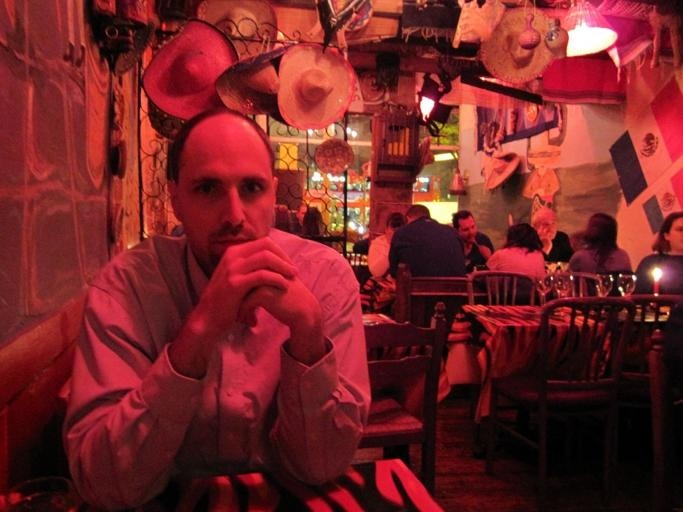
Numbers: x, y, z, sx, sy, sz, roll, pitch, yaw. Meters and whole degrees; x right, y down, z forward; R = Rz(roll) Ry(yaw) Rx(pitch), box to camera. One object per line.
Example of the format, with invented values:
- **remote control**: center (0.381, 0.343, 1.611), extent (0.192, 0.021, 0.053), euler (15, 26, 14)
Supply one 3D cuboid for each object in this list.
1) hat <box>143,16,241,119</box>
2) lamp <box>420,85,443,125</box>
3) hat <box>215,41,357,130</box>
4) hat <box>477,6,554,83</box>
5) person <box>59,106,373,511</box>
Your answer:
- **hat**: center (-0.565, -0.704, 2.173), extent (0.317, 0.411, 0.343), euler (-1, 7, -7)
- **lamp**: center (0.903, -1.563, 5.771), extent (0.226, 0.383, 0.296), euler (1, 7, 8)
- **hat**: center (-0.207, -0.791, 2.740), extent (0.633, 0.572, 0.283), euler (-16, 16, -38)
- **hat**: center (1.351, -1.643, 4.473), extent (0.540, 0.546, 0.568), euler (3, 8, 25)
- **person**: center (-0.336, 0.129, 1.643), extent (0.831, 1.058, 0.483), euler (0, 7, 3)
